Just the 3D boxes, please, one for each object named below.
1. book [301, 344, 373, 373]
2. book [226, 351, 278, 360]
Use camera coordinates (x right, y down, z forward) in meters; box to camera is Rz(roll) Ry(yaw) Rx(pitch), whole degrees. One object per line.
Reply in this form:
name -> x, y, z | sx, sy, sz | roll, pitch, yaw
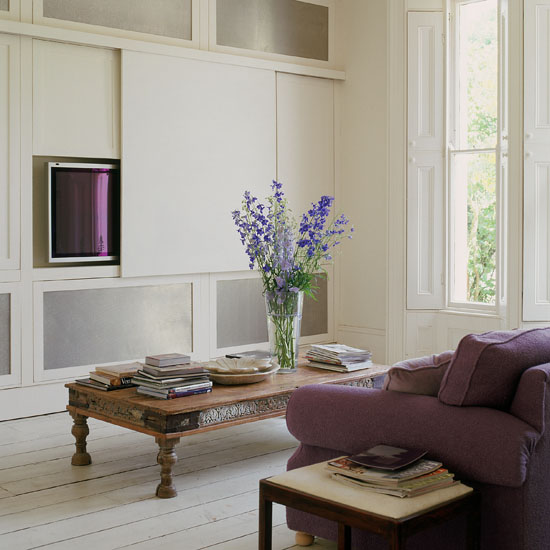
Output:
book -> 0.421, 0.463, 3.285 | 0.213, 0.078, 0.205 | -1, 4, -43
book -> -0.130, 0.477, 3.280 | 0.139, 0.033, 0.154 | 1, 2, 39
